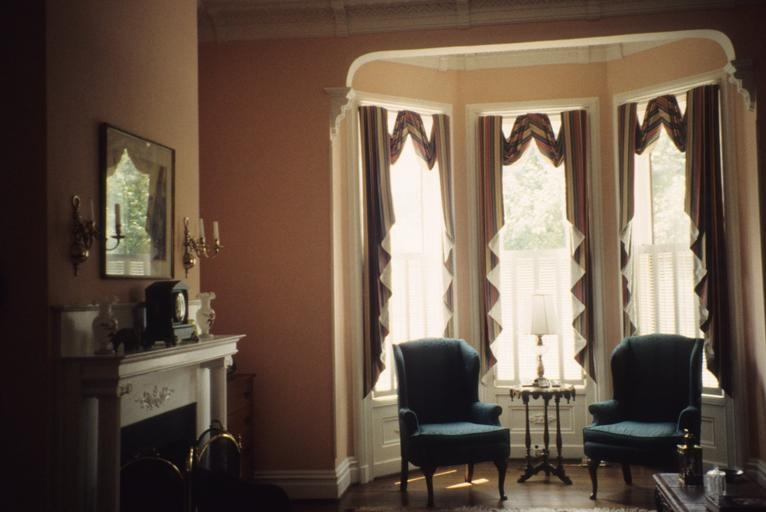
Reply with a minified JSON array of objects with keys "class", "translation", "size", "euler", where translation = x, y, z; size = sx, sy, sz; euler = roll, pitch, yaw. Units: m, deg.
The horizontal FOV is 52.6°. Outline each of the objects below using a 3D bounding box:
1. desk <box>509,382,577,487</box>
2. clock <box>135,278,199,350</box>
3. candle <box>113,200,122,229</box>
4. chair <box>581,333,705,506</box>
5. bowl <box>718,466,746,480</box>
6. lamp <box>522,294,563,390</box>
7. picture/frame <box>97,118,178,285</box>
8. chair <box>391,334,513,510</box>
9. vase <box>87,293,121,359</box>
[{"class":"desk","translation":[1.593,1.741,7.634],"size":[0.600,0.910,0.617],"euler":[0,-5,-11]},{"class":"clock","translation":[-1.613,0.466,6.087],"size":[0.402,0.615,0.490],"euler":[-4,-6,14]},{"class":"candle","translation":[-1.970,-0.309,5.741],"size":[0.059,0.186,0.146],"euler":[-3,6,-20]},{"class":"chair","translation":[2.429,1.469,7.176],"size":[0.993,1.371,0.957],"euler":[1,6,24]},{"class":"bowl","translation":[2.643,1.640,5.834],"size":[0.178,0.063,0.188],"euler":[-2,-1,0]},{"class":"lamp","translation":[1.607,0.816,7.705],"size":[0.252,0.914,0.580],"euler":[0,6,11]},{"class":"picture/frame","translation":[-1.896,-0.402,5.973],"size":[0.125,1.205,0.816],"euler":[1,6,23]},{"class":"chair","translation":[0.630,1.515,7.266],"size":[1.030,1.317,1.033],"euler":[-1,6,0]},{"class":"vase","translation":[-1.981,0.489,5.492],"size":[0.170,0.375,0.282],"euler":[-3,6,-20]}]
